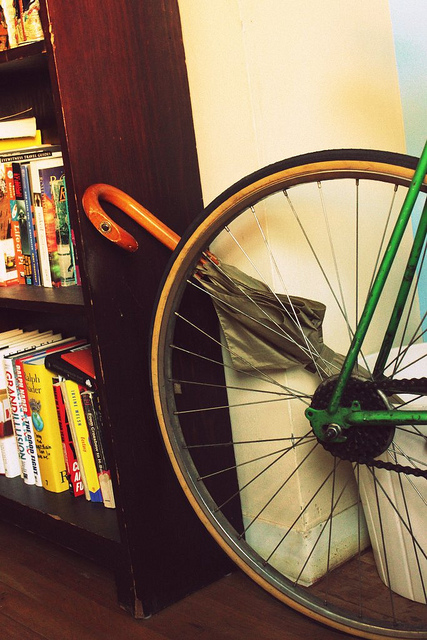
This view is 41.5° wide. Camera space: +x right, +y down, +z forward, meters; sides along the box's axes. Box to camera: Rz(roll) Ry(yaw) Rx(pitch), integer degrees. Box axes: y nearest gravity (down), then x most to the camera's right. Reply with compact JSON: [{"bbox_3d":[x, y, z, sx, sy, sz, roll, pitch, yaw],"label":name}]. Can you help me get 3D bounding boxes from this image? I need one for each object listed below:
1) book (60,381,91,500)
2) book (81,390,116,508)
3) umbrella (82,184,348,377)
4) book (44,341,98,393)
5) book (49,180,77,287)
[{"bbox_3d":[-0.284,0.243,1.166,0.026,0.263,0.027,-12,5,14],"label":"book"},{"bbox_3d":[-0.226,0.260,1.107,0.032,0.234,0.116,-8,5,-18],"label":"book"},{"bbox_3d":[0.013,-0.051,0.938,0.552,0.092,0.166,35,41,1],"label":"umbrella"},{"bbox_3d":[-0.286,0.101,1.128,0.107,0.026,0.108,21,14,17],"label":"book"},{"bbox_3d":[-0.319,-0.179,1.191,0.036,0.219,0.055,-7,5,-14],"label":"book"}]
